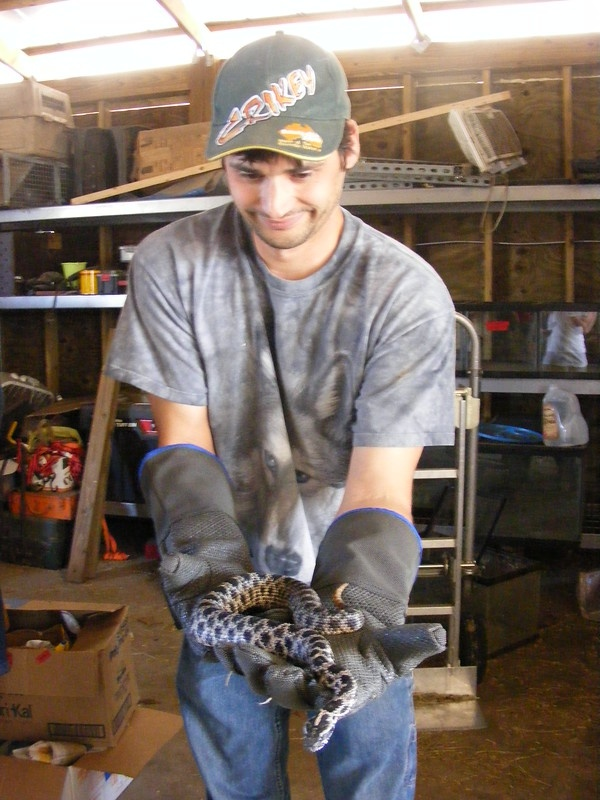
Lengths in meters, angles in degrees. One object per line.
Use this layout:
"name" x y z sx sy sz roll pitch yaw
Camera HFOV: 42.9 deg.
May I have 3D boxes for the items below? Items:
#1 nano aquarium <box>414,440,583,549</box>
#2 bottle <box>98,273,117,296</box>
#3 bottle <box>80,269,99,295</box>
"nano aquarium" 1.122 0.468 4.192 0.779 0.756 0.687 1 4 21
"bottle" -1.396 -0.841 5.573 0.215 0.165 0.139 0 0 -1
"bottle" -1.552 -0.858 5.628 0.199 0.172 0.184 0 1 12
